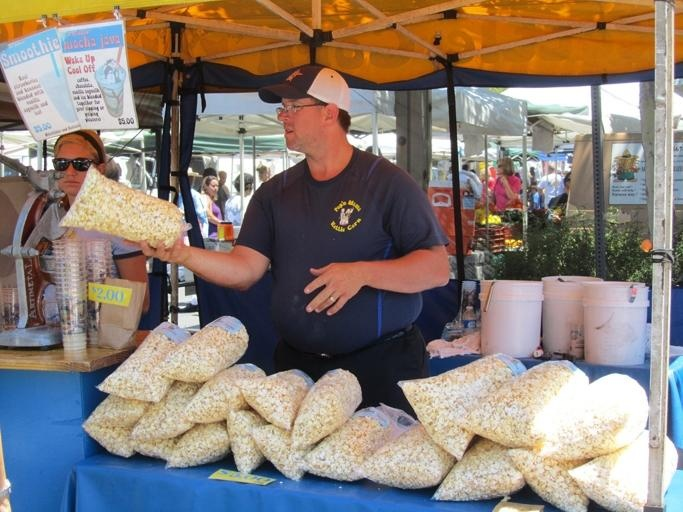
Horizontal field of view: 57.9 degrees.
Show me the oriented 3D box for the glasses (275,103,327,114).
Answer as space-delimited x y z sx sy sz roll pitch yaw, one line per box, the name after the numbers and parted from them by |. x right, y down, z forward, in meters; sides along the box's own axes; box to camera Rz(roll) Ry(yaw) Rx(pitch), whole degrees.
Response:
-0.172 -0.620 2.601 0.202 0.045 0.051 1 7 15 | glasses

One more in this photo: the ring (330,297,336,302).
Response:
-0.033 0.161 2.265 0.014 0.020 0.019 -12 3 -19 | ring

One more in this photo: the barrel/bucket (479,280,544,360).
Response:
0.829 0.294 3.217 0.364 0.419 0.370 1 3 0 | barrel/bucket

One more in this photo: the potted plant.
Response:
2.133 0.217 5.594 1.083 1.119 1.062 0 -2 24 | potted plant

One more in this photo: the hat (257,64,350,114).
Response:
-0.131 -0.743 2.705 0.387 0.201 0.273 13 6 -10 | hat

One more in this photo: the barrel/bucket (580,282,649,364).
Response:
1.265 0.313 2.895 0.248 0.390 0.391 4 -4 -5 | barrel/bucket
